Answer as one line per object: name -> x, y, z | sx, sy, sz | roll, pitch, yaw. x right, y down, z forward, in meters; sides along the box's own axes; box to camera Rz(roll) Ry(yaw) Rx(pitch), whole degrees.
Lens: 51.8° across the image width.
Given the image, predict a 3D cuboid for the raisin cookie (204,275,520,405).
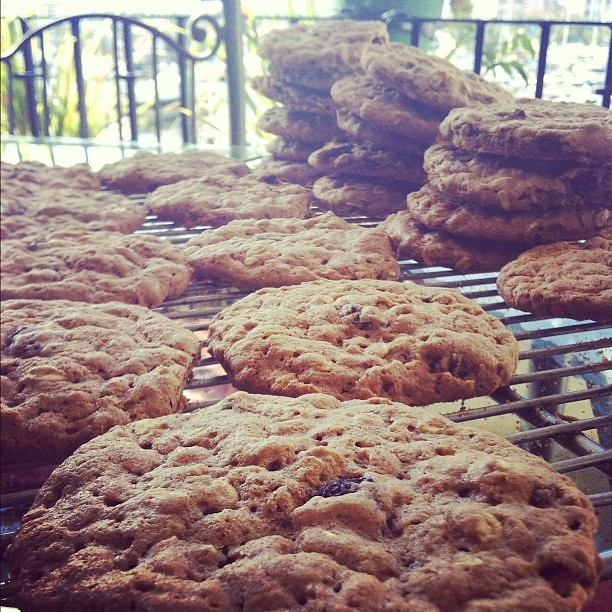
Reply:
raisin cookie -> 0.077, 0.042, 1.242 | 0.583, 0.081, 0.512 | -8, 25, -18
